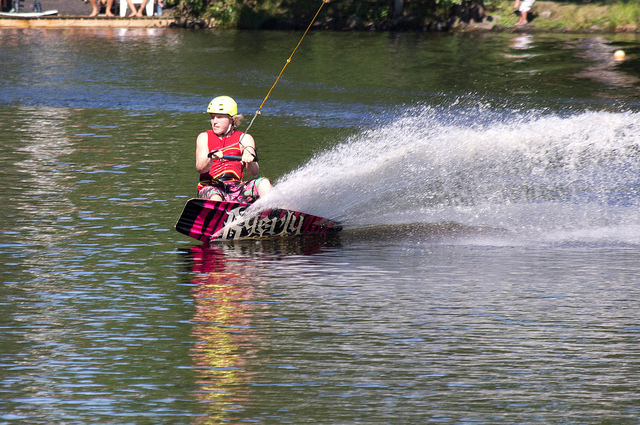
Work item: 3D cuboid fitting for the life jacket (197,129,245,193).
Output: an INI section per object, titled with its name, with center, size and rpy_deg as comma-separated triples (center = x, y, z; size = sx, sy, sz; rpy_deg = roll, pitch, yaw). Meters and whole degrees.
[life jacket]
center = -1.361, -0.701, 14.964
size = 0.621, 0.879, 0.446
rpy_deg = 7, 28, -7

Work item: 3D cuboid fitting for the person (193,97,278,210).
[person]
center = -1.134, -0.818, 14.776
size = 0.992, 1.463, 1.287
rpy_deg = -7, 29, -31

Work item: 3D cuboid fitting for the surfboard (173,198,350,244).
[surfboard]
center = -0.742, 0.121, 14.781
size = 2.600, 0.420, 0.230
rpy_deg = 4, 7, -32
